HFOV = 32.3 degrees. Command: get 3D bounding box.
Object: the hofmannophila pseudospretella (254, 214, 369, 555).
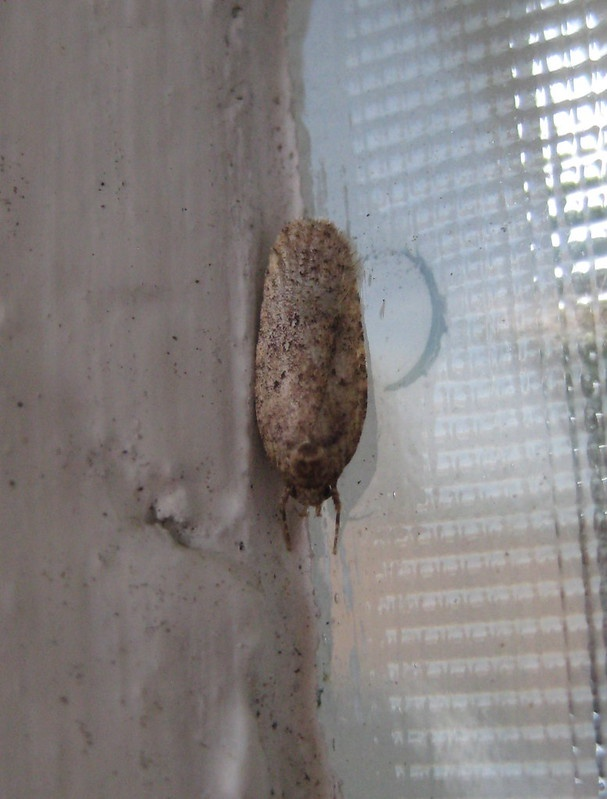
[{"bbox_3d":[0.012,-0.094,2.127,0.153,0.200,0.801,0,89,1],"label":"hofmannophila pseudospretella"}]
